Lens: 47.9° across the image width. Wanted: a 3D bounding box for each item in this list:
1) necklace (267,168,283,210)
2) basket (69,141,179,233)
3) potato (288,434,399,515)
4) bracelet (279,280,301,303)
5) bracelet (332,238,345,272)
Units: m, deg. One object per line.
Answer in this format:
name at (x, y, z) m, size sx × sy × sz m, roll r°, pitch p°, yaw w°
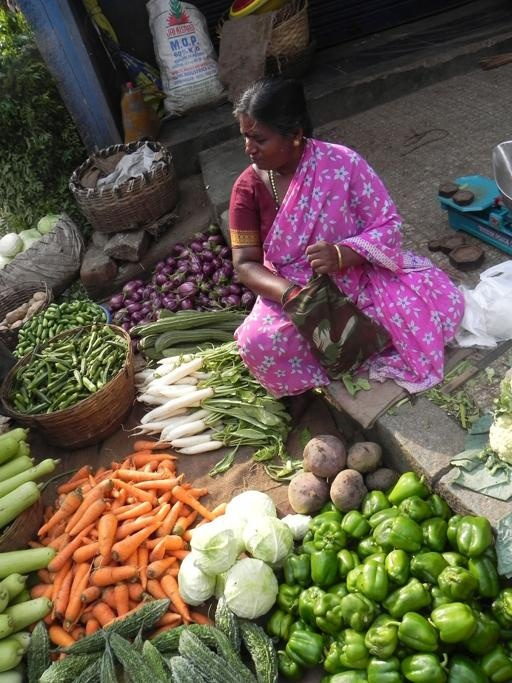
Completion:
necklace at (0.085, -0.749, 2.816) m, size 0.065 × 0.235 × 0.033 m, roll -13°, pitch 26°, yaw 6°
basket at (-1.099, -1.331, 4.941) m, size 0.846 × 0.675 × 0.671 m, roll 11°, pitch 47°, yaw 27°
potato at (0.373, 0.634, 2.753) m, size 0.432 × 0.163 × 0.398 m, roll 8°, pitch 54°, yaw 37°
bracelet at (0.166, -0.240, 2.782) m, size 0.095 × 0.059 × 0.073 m, roll -50°, pitch 11°, yaw 21°
bracelet at (0.385, -0.397, 2.685) m, size 0.030 × 0.093 × 0.103 m, roll -13°, pitch 23°, yaw -1°
